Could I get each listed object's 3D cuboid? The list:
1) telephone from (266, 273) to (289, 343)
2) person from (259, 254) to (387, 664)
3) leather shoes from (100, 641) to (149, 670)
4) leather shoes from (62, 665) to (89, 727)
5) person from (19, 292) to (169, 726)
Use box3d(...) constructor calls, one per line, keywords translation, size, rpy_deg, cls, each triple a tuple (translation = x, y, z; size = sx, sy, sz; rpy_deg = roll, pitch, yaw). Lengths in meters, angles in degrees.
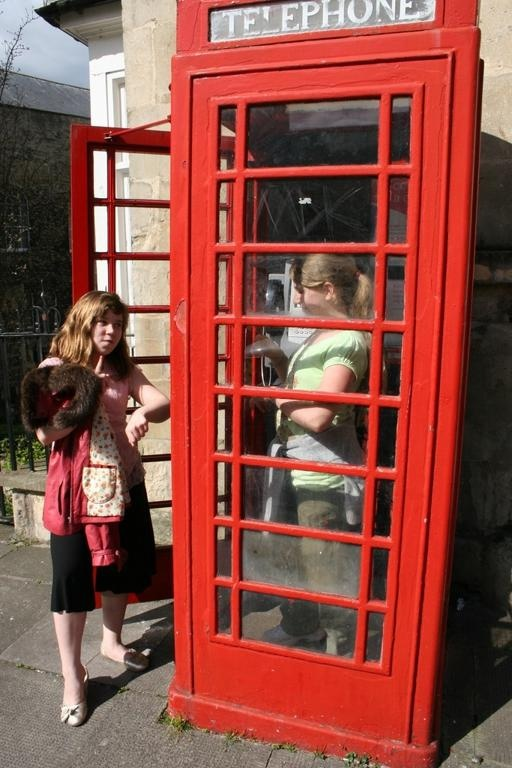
box3d(translation=(0.064, -0.255, 2.617), size=(0.073, 0.222, 0.042), rpy_deg=(1, 12, 11), cls="telephone")
box3d(translation=(0.193, 0.255, 2.656), size=(0.397, 1.373, 0.143), rpy_deg=(0, 12, 10), cls="person")
box3d(translation=(-0.543, 1.130, 3.281), size=(0.171, 0.069, 0.092), rpy_deg=(3, 7, 23), cls="leather shoes")
box3d(translation=(-0.697, 1.202, 2.982), size=(0.087, 0.071, 0.252), rpy_deg=(-7, 22, -6), cls="leather shoes")
box3d(translation=(-0.576, 0.445, 2.985), size=(0.503, 1.562, 0.597), rpy_deg=(2, 13, 18), cls="person")
